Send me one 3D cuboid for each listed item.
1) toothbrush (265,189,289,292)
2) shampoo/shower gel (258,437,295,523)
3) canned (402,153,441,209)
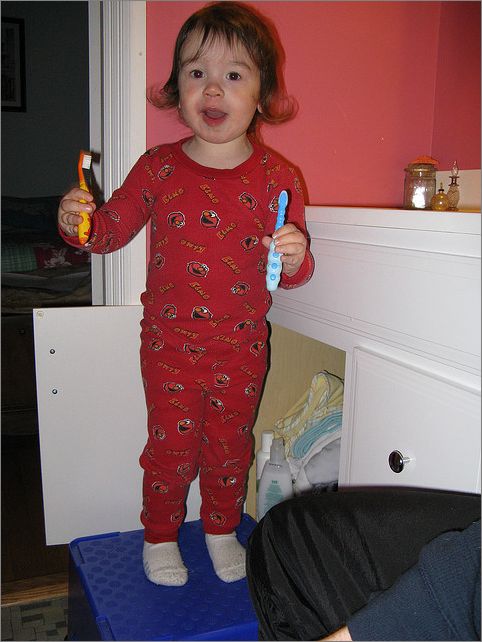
[{"bbox_3d":[0.052,-0.112,0.762,0.026,0.146,0.016,11,-4,-16],"label":"toothbrush"},{"bbox_3d":[0.073,0.344,1.139,0.076,0.213,0.053,6,21,13],"label":"shampoo/shower gel"},{"bbox_3d":[0.340,-0.275,1.079,0.070,0.111,0.079,-11,20,-27],"label":"canned"}]
